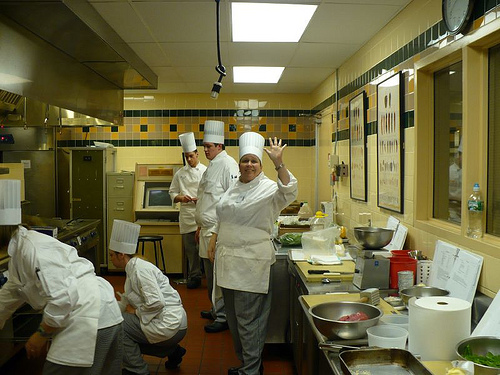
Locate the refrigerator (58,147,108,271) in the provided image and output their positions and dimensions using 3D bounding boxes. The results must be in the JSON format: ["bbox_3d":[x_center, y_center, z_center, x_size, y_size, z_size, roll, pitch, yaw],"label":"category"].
[{"bbox_3d":[-2.472,0.199,5.971,0.586,1.678,0.680,3,9,-3],"label":"refrigerator"}]

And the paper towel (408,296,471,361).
[{"bbox_3d":[0.879,0.661,1.731,0.230,0.266,0.246,-4,-4,-2],"label":"paper towel"}]

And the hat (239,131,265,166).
[{"bbox_3d":[0.007,-0.315,3.043,0.181,0.261,0.230,1,3,-1],"label":"hat"}]

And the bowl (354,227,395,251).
[{"bbox_3d":[1.025,0.436,3.161,0.346,0.178,0.350,0,-1,0],"label":"bowl"}]

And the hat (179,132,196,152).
[{"bbox_3d":[-0.772,-0.559,4.706,0.187,0.241,0.238,1,3,-7],"label":"hat"}]

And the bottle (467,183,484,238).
[{"bbox_3d":[1.330,0.138,2.245,0.097,0.323,0.083,0,3,-33],"label":"bottle"}]

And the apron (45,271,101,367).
[{"bbox_3d":[-1.027,0.715,2.217,0.262,0.537,0.270,2,8,-12],"label":"apron"}]

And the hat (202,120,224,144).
[{"bbox_3d":[-0.384,-0.607,4.111,0.208,0.240,0.237,2,5,2],"label":"hat"}]

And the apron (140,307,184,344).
[{"bbox_3d":[-0.631,1.010,2.864,0.277,0.247,0.335,4,5,-7],"label":"apron"}]

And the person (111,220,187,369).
[{"bbox_3d":[-0.764,0.793,2.844,0.543,1.091,0.307,1,3,-10],"label":"person"}]

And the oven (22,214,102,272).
[{"bbox_3d":[-1.854,0.681,3.854,0.367,0.542,1.010,2,0,-5],"label":"oven"}]

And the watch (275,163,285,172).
[{"bbox_3d":[0.208,-0.158,2.752,0.059,0.036,0.057,-29,-21,-11],"label":"watch"}]

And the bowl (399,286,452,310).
[{"bbox_3d":[1.023,0.611,2.232,0.286,0.111,0.302,-4,-11,-1],"label":"bowl"}]

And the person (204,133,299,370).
[{"bbox_3d":[0.018,0.509,2.934,0.385,1.868,0.647,-1,4,-42],"label":"person"}]

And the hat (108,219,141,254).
[{"bbox_3d":[-0.910,0.364,2.874,0.231,0.250,0.239,14,5,-4],"label":"hat"}]
